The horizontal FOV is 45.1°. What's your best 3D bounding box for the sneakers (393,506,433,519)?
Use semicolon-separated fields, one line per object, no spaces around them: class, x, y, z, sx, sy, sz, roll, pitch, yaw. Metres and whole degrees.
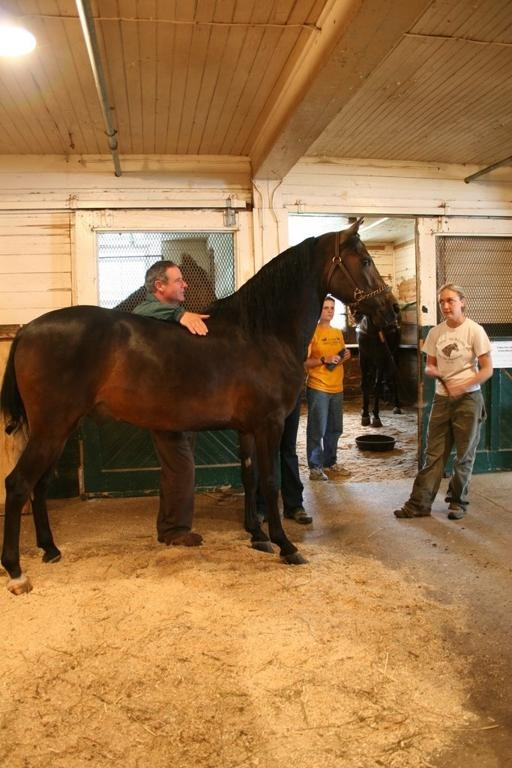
sneakers;1.011;0.822;3.969;0.235;0.091;0.082;2;-7;2

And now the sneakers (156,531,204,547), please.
sneakers;-0.395;0.804;3.216;0.230;0.088;0.083;-1;1;11

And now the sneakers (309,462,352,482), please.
sneakers;0.624;0.743;5.179;0.394;0.151;0.126;-1;9;-9

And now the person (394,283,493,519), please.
person;1.233;0.116;3.984;0.464;1.495;0.452;7;7;17

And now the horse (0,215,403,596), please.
horse;-0.416;0.099;3.562;2.500;1.916;0.704;1;-5;-25

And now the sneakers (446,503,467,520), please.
sneakers;1.278;0.823;3.928;0.059;0.069;0.171;-8;-12;27
